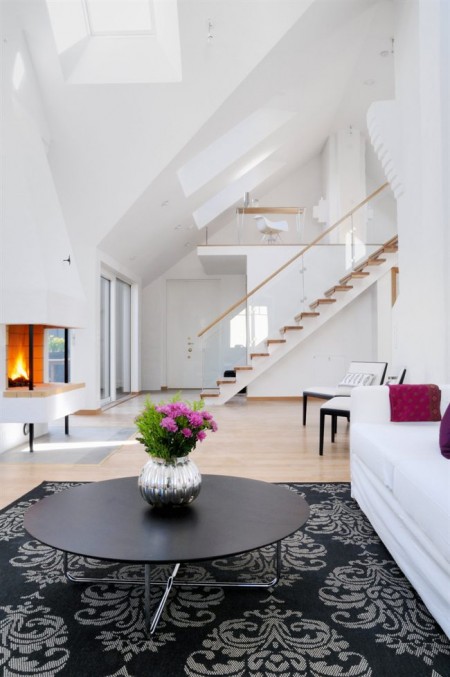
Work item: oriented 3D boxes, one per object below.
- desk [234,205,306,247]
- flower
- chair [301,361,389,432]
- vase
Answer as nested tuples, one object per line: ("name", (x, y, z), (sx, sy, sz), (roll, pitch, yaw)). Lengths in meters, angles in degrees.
("desk", (0.820, -2.121, 9.545), (1.203, 0.787, 0.893), (0, -1, 3))
("flower", (-0.196, 0.359, 2.064), (0.314, 0.226, 0.279), (0, -1, -15))
("chair", (1.286, 0.563, 5.437), (0.712, 0.957, 0.802), (4, -6, -24))
("vase", (-0.225, 0.557, 2.033), (0.224, 0.185, 0.227), (5, -4, 17))
